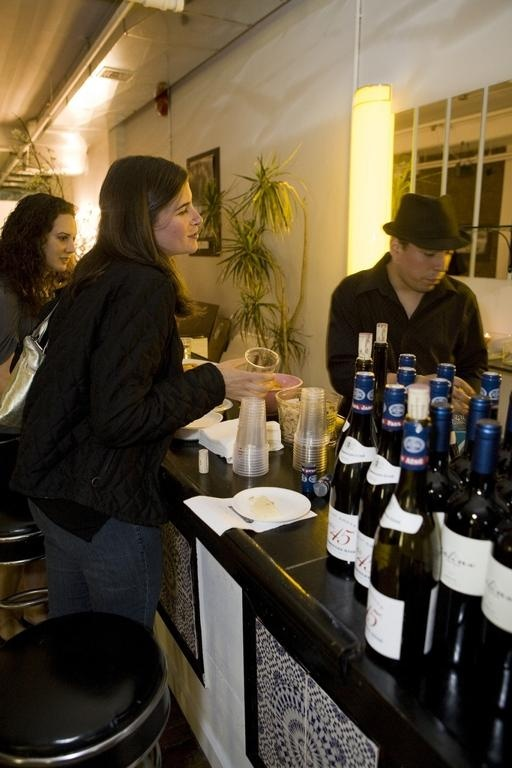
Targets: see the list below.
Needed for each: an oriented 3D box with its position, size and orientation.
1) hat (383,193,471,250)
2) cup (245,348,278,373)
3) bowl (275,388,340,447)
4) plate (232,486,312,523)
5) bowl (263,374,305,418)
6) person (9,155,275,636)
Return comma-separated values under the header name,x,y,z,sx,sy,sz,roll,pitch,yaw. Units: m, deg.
name,x,y,z,sx,sy,sz,roll,pitch,yaw
hat,0.656,-0.649,2.168,0.331,0.185,0.432,12,13,13
cup,0.014,-0.050,1.544,0.071,0.063,0.078,17,47,8
bowl,0.138,0.110,1.567,0.198,0.151,0.180,-3,-14,1
plate,0.028,0.249,1.151,0.168,0.026,0.157,5,9,32
bowl,0.080,0.036,1.629,0.114,0.081,0.114,1,10,0
person,-0.303,0.039,1.296,0.344,1.114,0.462,5,9,35
